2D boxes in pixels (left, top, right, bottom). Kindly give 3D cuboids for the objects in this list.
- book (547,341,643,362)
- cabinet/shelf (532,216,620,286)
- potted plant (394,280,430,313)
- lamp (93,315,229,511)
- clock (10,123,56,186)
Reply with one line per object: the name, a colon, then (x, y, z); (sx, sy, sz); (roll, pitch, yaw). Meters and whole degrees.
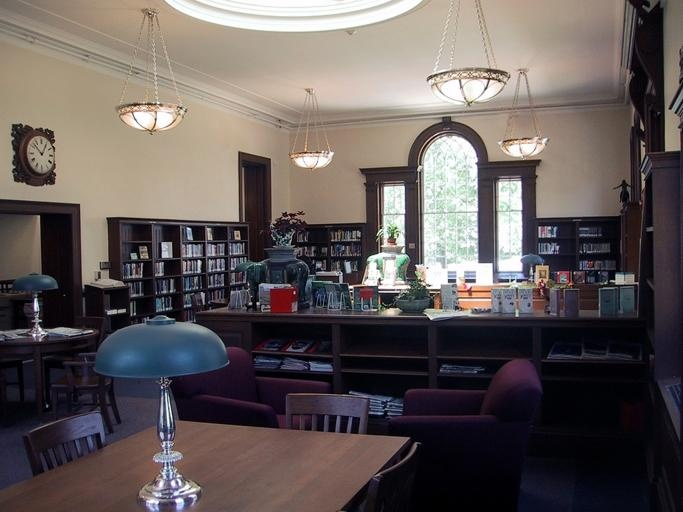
book: (2.404, 0.898, 4.846); (0.862, 0.107, 0.407); (-1, 5, 13)
cabinet/shelf: (4.782, -0.114, 10.114); (1.275, 1.342, 0.395); (0, -4, 14)
potted plant: (0.743, 0.413, 5.208); (0.283, 0.195, 0.328); (1, 0, 10)
lamp: (-0.812, 0.706, 2.266); (0.470, 0.876, 0.502); (-5, 6, -40)
clock: (-4.307, -1.388, 7.083); (0.114, 0.841, 0.603); (0, 5, 24)
